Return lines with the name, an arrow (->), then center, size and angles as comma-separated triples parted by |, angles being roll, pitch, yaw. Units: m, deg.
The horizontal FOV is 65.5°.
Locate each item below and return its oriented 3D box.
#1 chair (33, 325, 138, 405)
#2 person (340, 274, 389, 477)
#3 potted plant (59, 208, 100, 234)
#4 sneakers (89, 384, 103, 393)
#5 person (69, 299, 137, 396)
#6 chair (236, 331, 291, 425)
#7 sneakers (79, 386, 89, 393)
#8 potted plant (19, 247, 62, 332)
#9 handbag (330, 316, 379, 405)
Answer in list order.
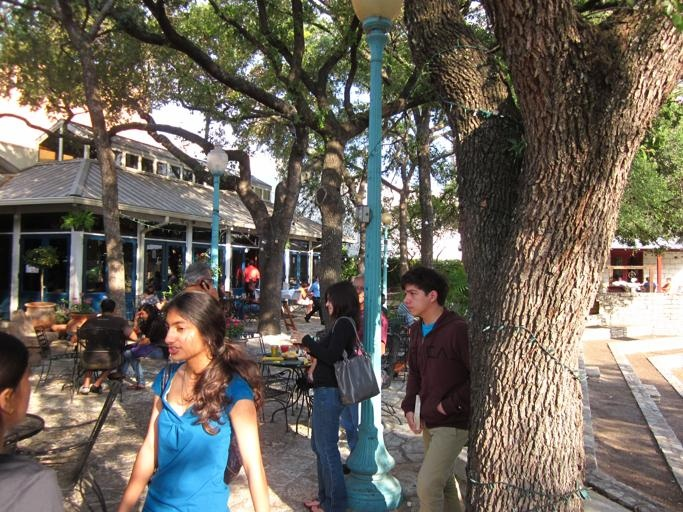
chair -> -4.118, 1.784, 8.548 | 0.790, 1.173, 0.780 | 5, 15, -42
person -> 0.255, 1.432, 5.642 | 0.295, 2.444, 0.460 | 3, 9, 3
potted plant -> -7.374, -0.979, 14.865 | 0.734, 0.716, 0.792 | 0, -10, 15
sneakers -> -3.975, 2.124, 8.558 | 0.099, 0.155, 0.208 | 4, -2, -8
person -> -3.763, 1.416, 8.318 | 0.861, 1.546, 0.725 | -7, -14, 42
chair -> -0.945, 1.866, 7.487 | 0.517, 0.937, 0.479 | 5, 8, 12
sneakers -> -4.105, 2.140, 8.452 | 0.114, 0.091, 0.124 | 6, 3, -8
potted plant -> -8.292, 0.804, 14.733 | 0.951, 2.343, 2.817 | 3, -4, -32
handbag -> 0.088, 0.925, 4.663 | 0.380, 0.750, 0.174 | -3, -20, -40
